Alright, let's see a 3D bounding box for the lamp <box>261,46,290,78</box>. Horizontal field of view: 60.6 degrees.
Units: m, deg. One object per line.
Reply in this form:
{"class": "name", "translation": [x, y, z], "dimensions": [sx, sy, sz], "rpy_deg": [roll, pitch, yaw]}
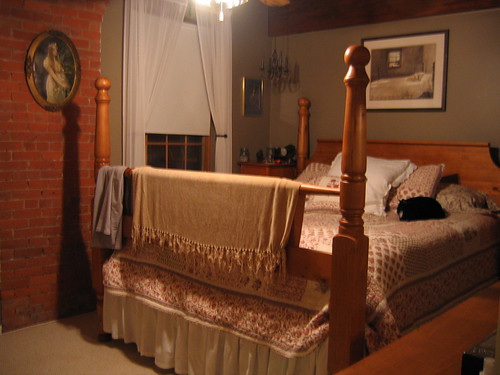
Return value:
{"class": "lamp", "translation": [0.285, -1.560, 5.505], "dimensions": [0.336, 0.592, 0.349], "rpy_deg": [-7, 13, -36]}

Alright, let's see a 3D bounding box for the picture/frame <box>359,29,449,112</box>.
{"class": "picture/frame", "translation": [1.608, -1.187, 4.316], "dimensions": [1.058, 1.089, 0.047], "rpy_deg": [6, 9, 39]}

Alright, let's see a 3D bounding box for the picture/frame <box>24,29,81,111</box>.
{"class": "picture/frame", "translation": [-1.791, -1.061, 3.826], "dimensions": [0.055, 0.912, 0.610], "rpy_deg": [2, 5, 33]}

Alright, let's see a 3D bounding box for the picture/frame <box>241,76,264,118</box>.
{"class": "picture/frame", "translation": [0.038, -1.158, 5.403], "dimensions": [0.320, 0.456, 0.030], "rpy_deg": [-3, 5, -38]}
